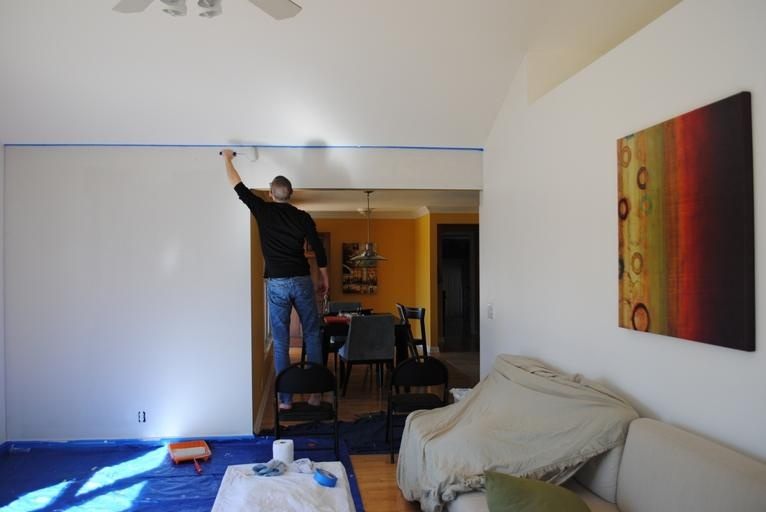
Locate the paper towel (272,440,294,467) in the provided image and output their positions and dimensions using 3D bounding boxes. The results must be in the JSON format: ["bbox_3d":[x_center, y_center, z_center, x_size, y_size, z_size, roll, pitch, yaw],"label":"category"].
[{"bbox_3d":[-0.737,1.449,4.287,0.150,0.177,0.152,1,-1,-5],"label":"paper towel"}]
